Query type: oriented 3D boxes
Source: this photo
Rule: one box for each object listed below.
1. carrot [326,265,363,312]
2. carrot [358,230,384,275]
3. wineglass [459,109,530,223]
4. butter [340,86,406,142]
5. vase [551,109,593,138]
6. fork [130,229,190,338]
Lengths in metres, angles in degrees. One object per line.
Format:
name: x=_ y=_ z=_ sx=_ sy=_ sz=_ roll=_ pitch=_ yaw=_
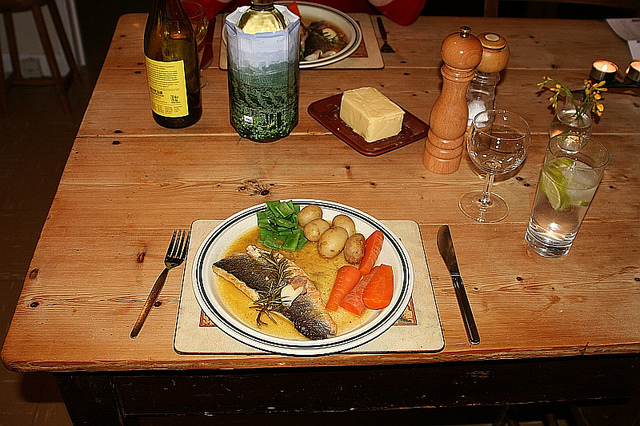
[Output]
carrot: x=0.046 y=0.166 z=1.107 sx=0.059 sy=0.046 sz=0.113 roll=14 pitch=47 yaw=23
carrot: x=0.123 y=0.086 z=1.162 sx=0.040 sy=0.033 sz=0.109 roll=24 pitch=55 yaw=-8
wineglass: x=0.444 y=-0.124 z=1.311 sx=0.148 sy=0.265 sz=0.155 roll=-22 pitch=36 yaw=-30
butter: x=0.143 y=-0.273 z=1.425 sx=0.099 sy=0.097 sz=0.150 roll=-26 pitch=49 yaw=-28
vase: x=0.698 y=-0.243 z=1.404 sx=0.090 sy=0.084 sz=0.084 roll=11 pitch=60 yaw=9
fork: x=-0.352 y=0.154 z=1.113 sx=0.038 sy=0.029 sz=0.261 roll=11 pitch=56 yaw=8
